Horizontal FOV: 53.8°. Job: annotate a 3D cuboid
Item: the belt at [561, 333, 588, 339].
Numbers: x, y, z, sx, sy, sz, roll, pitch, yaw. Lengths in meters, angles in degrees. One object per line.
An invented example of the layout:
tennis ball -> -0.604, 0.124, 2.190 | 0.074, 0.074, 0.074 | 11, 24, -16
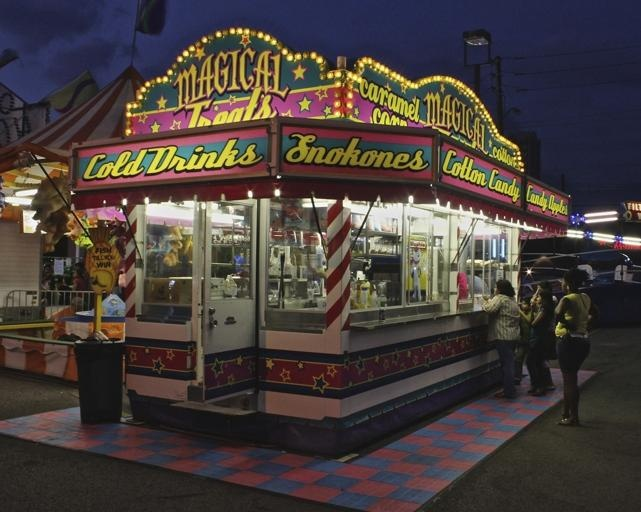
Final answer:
belt -> 3.587, 1.124, 8.820 | 0.328, 0.082, 0.154 | 1, 2, 8

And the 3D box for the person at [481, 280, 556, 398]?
person -> 3.203, 1.394, 10.941 | 0.554, 1.947, 0.935 | 1, 1, 24

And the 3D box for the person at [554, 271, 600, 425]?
person -> 3.703, 1.307, 9.152 | 0.501, 2.226, 1.072 | 1, 1, 23

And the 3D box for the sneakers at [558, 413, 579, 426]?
sneakers -> 3.566, 2.335, 9.023 | 0.255, 0.266, 0.136 | 1, -8, 38

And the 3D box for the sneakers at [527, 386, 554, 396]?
sneakers -> 3.871, 2.319, 10.957 | 0.478, 0.215, 0.174 | 6, -9, -38

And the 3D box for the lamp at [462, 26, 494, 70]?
lamp -> 4.607, -6.040, 18.312 | 0.656, 0.913, 0.673 | -1, 7, 25
